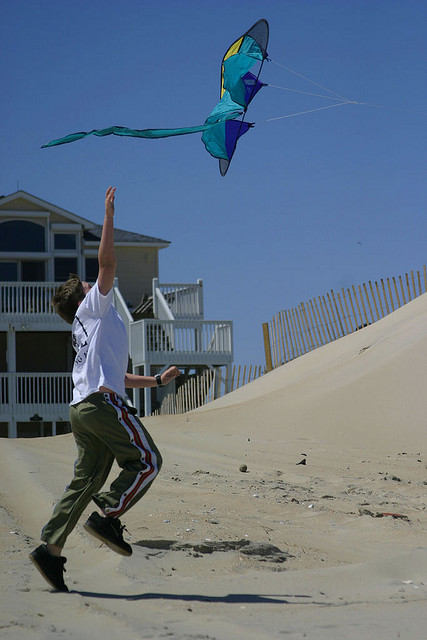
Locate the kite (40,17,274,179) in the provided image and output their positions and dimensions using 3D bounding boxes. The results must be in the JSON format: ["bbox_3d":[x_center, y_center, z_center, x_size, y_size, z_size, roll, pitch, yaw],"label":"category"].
[{"bbox_3d":[-0.165,-1.552,6.005,1.663,0.374,1.551,-22,-24,-10],"label":"kite"}]

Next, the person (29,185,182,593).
[{"bbox_3d":[-0.554,0.256,3.805,0.502,1.889,0.480,-5,-8,21],"label":"person"}]
